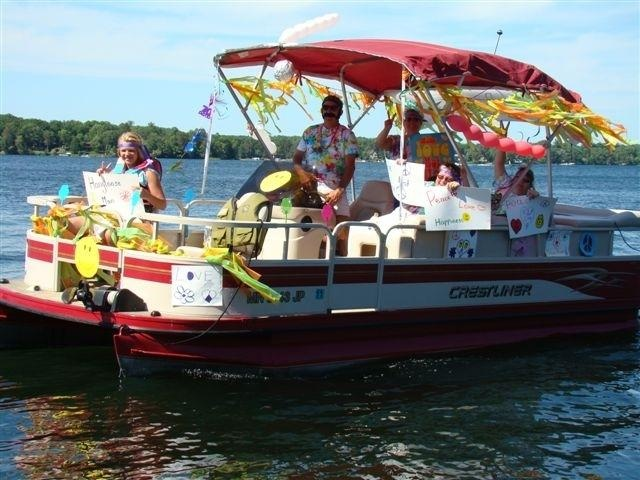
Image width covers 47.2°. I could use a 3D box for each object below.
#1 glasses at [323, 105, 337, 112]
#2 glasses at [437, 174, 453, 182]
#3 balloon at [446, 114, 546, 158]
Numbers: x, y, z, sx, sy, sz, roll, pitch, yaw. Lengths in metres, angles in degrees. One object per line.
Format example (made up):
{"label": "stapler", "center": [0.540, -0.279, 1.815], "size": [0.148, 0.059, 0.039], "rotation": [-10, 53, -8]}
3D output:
{"label": "glasses", "center": [0.115, -1.776, 9.906], "size": [0.148, 0.081, 0.034], "rotation": [0, -3, 10]}
{"label": "glasses", "center": [1.594, -0.789, 9.431], "size": [0.165, 0.040, 0.132], "rotation": [1, -11, 25]}
{"label": "balloon", "center": [2.259, -1.333, 9.315], "size": [1.228, 0.546, 0.420], "rotation": [1, 2, -9]}
